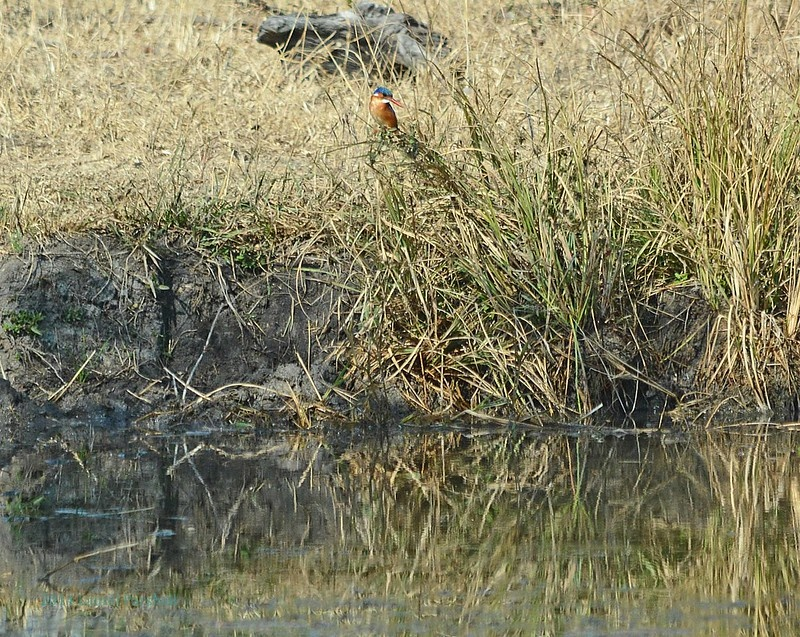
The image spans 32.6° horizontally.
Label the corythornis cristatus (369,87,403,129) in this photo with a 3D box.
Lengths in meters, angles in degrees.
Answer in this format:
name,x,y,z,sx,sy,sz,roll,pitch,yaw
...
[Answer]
name,x,y,z,sx,sy,sz,roll,pitch,yaw
corythornis cristatus,-0.102,-1.381,8.997,0.188,0.203,0.532,-8,24,-1
